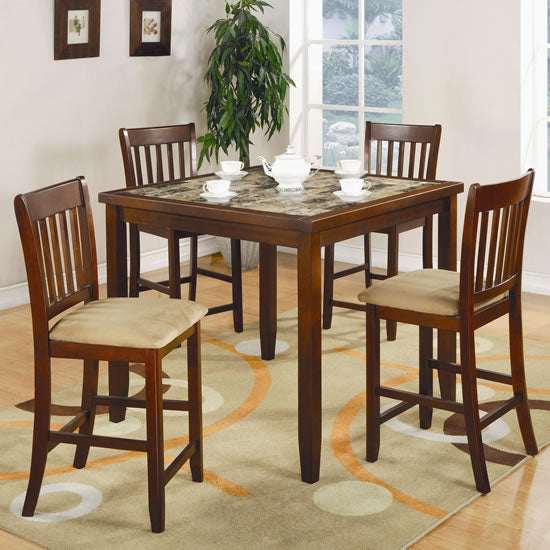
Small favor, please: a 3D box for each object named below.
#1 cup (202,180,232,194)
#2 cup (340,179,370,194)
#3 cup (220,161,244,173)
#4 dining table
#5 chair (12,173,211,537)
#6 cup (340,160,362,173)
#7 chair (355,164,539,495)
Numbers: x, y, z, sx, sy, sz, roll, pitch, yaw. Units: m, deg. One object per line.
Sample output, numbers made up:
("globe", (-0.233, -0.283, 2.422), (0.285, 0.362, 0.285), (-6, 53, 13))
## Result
("cup", (-0.216, -0.319, 2.058), (0.107, 0.044, 0.082), (-3, 7, 4))
("cup", (0.283, -0.312, 1.990), (0.111, 0.045, 0.088), (-1, 6, 15))
("cup", (-0.206, -0.507, 2.626), (0.113, 0.046, 0.087), (-2, 7, 7))
("dining table", (0.084, -0.042, 2.409), (1.243, 1.065, 1.242), (7, 11, 36))
("chair", (-0.452, 0.197, 1.576), (0.450, 0.938, 0.379), (3, 11, 15))
("cup", (0.338, -0.483, 2.503), (0.090, 0.049, 0.086), (-2, 6, 0))
("chair", (0.585, 0.146, 1.826), (0.507, 0.958, 0.439), (-10, 14, -44))
